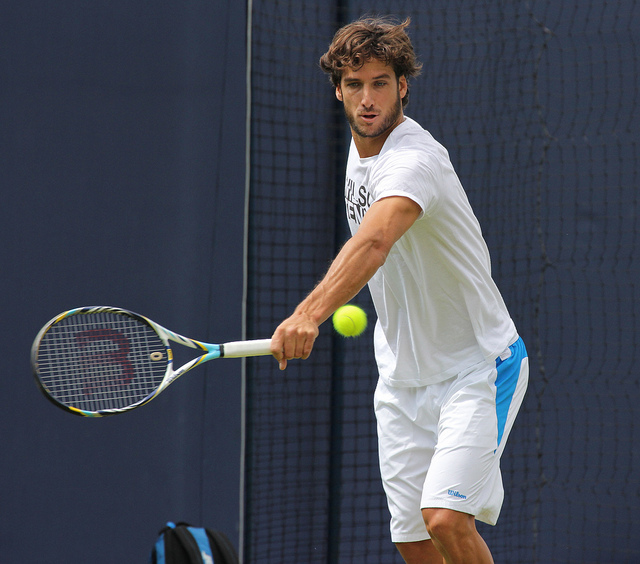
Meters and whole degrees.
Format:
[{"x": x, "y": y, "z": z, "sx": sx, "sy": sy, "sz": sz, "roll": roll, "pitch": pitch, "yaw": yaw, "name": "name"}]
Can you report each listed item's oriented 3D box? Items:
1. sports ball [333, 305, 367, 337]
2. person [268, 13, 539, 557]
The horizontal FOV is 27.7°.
[{"x": 0.137, "y": 0.186, "z": 6.077, "sx": 0.131, "sy": 0.144, "sz": 0.137, "roll": 14, "pitch": 34, "yaw": -9, "name": "sports ball"}, {"x": 0.432, "y": 0.061, "z": 5.774, "sx": 1.016, "sy": 2.444, "sz": 0.853, "roll": 4, "pitch": 7, "yaw": 8, "name": "person"}]
